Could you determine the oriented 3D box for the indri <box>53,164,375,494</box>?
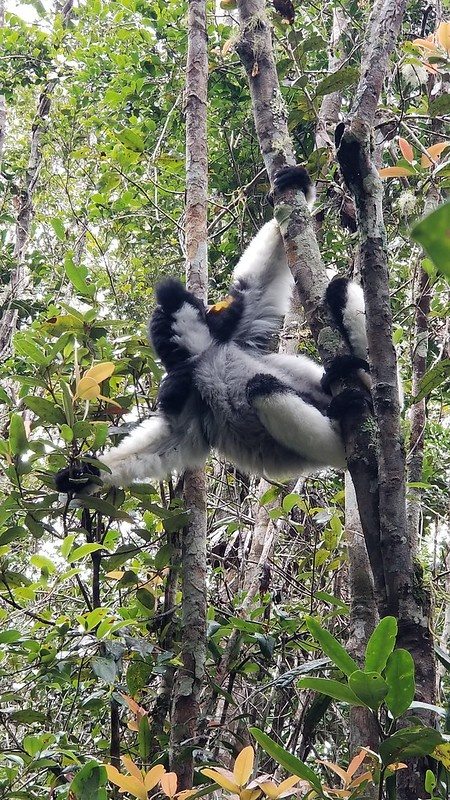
[{"bbox_3d":[0.031,-0.199,4.148,1.530,1.370,0.555,-5,-17,9],"label":"indri"}]
